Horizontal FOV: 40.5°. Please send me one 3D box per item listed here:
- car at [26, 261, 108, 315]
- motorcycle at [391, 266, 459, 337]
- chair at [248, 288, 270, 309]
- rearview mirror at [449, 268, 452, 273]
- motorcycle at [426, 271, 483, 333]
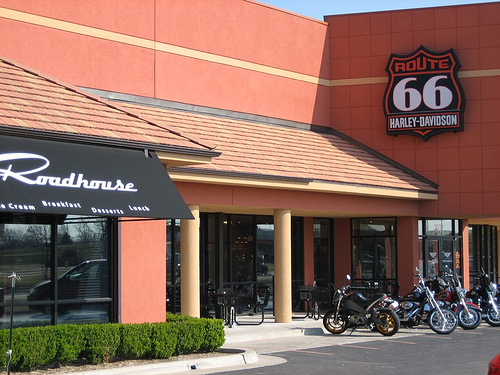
[{"bbox_3d":[-4.574,2.547,17.352,1.651,0.811,0.952,3,-7,-27],"label":"car"},{"bbox_3d":[5.001,3.612,21.168,2.858,1.849,1.469,-1,-16,28],"label":"motorcycle"},{"bbox_3d":[0.440,3.777,23.052,0.932,0.824,0.599,4,-10,2],"label":"chair"},{"bbox_3d":[8.514,3.553,28.698,0.097,0.174,0.290,-6,-12,22],"label":"rearview mirror"},{"bbox_3d":[5.984,3.587,21.382,2.586,1.630,1.471,6,-18,16],"label":"motorcycle"}]
